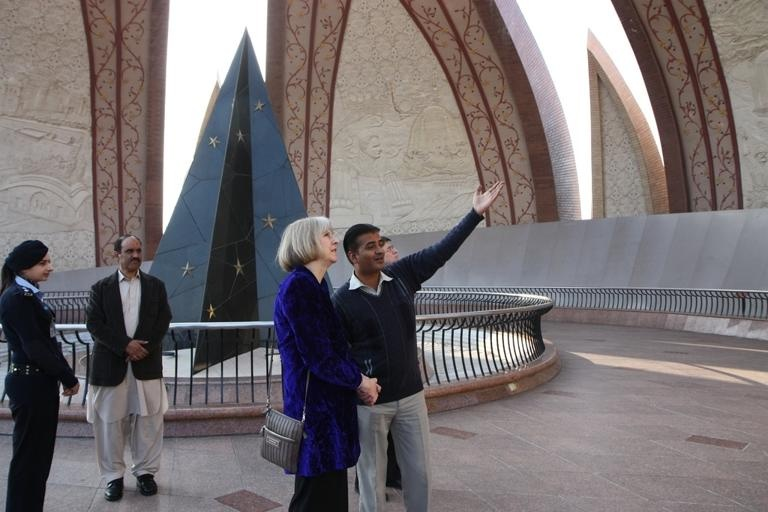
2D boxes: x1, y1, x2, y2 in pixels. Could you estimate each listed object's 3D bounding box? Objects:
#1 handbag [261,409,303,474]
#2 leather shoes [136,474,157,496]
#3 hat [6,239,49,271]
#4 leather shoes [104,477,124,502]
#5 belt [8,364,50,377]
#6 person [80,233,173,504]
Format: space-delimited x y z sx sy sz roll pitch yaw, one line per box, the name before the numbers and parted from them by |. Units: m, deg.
handbag | -0.596 1.071 3.007 0.279 0.340 0.099 3 6 30
leather shoes | -1.790 1.739 3.950 0.080 0.102 0.221 2 -4 -33
hat | -2.492 -0.002 3.688 0.256 0.156 0.212 -25 8 2
leather shoes | -2.021 1.748 3.895 0.075 0.100 0.220 1 -7 -10
belt | -2.409 0.763 3.508 0.243 0.071 0.038 0 5 1
person | -1.988 0.823 4.035 0.607 1.933 0.534 -1 5 -18
